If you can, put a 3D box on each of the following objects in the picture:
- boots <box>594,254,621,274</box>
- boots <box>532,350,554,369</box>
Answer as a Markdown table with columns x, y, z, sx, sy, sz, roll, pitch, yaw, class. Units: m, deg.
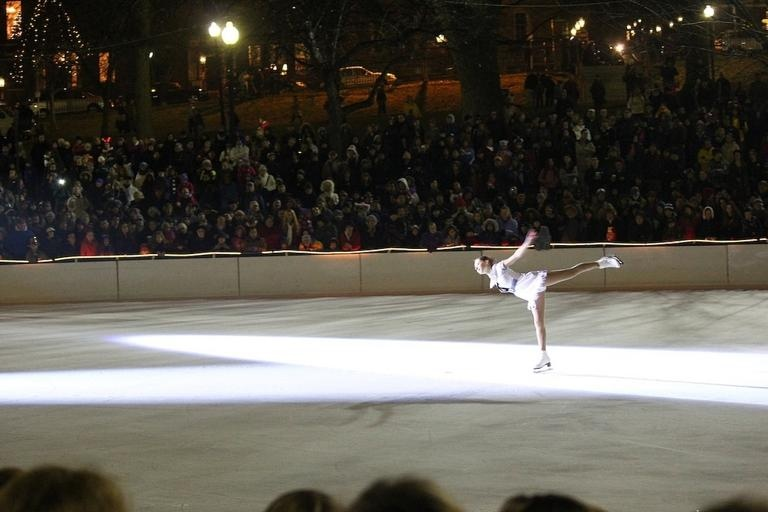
| x | y | z | sx | sy | sz | roll | pitch | yaw | class |
| --- | --- | --- | --- | --- | --- | --- | --- | --- | --- |
| 4.329 | 0.122 | 19.910 | 0.662 | 0.318 | 0.766 | 0 | 4 | -1 | boots |
| 3.020 | 2.008 | 19.560 | 0.369 | 0.391 | 0.236 | -5 | 4 | 3 | boots |
